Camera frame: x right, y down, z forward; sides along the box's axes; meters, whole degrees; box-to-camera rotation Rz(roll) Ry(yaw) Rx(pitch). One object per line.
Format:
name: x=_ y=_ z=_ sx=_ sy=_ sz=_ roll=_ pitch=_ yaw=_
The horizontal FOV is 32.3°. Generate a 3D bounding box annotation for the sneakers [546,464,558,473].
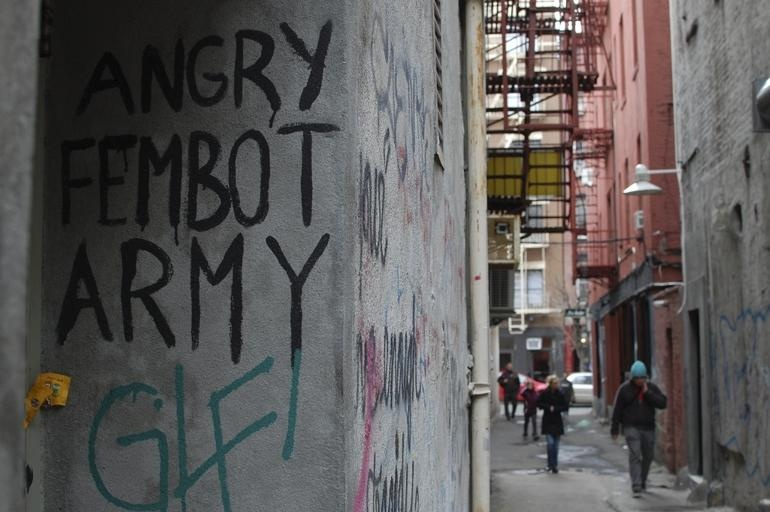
sneakers: x=2.811 y=3.597 z=22.557 sx=0.186 sy=0.193 sz=0.073 roll=-7 pitch=2 yaw=7

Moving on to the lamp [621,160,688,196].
lamp: x=4.355 y=-1.288 z=21.663 sx=0.942 sy=0.469 sz=0.526 roll=-3 pitch=-3 yaw=27

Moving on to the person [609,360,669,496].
person: x=3.725 y=2.539 z=19.659 sx=0.782 sy=1.972 sz=0.981 roll=-3 pitch=-5 yaw=10

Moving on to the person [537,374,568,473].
person: x=2.833 y=2.851 z=22.644 sx=0.426 sy=1.619 sz=0.880 roll=-2 pitch=-5 yaw=8
